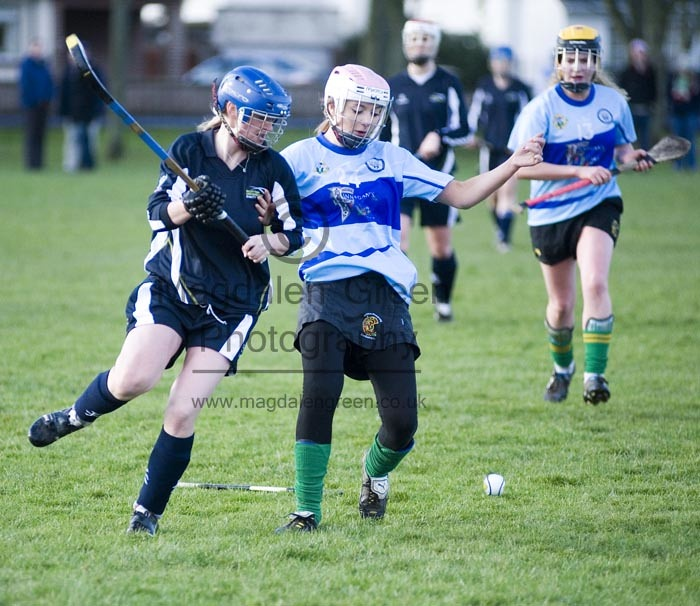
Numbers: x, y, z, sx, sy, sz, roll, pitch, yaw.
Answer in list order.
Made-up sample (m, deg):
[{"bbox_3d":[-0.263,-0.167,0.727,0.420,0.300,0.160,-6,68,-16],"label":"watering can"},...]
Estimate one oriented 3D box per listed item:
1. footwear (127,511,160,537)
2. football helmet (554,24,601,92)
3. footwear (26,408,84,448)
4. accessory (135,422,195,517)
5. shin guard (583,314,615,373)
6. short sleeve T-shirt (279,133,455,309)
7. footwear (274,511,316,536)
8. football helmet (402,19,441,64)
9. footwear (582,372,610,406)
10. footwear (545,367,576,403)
[{"bbox_3d":[-0.993,1.032,5.753,0.067,0.082,0.181,3,-18,5],"label":"footwear"},{"bbox_3d":[1.437,-1.489,7.457,0.263,0.427,0.385,4,9,25],"label":"football helmet"},{"bbox_3d":[-1.460,0.608,5.970,0.283,0.160,0.122,-28,-20,-19],"label":"footwear"},{"bbox_3d":[-0.893,0.807,5.822,0.275,0.423,0.106,-2,12,-11],"label":"accessory"},{"bbox_3d":[1.479,0.258,7.279,0.164,0.339,0.223,3,12,12],"label":"shin guard"},{"bbox_3d":[0.116,-0.472,6.701,1.172,1.040,0.372,3,-9,-15],"label":"short sleeve T-shirt"},{"bbox_3d":[-0.257,1.057,5.854,0.158,0.083,0.088,1,-3,-5],"label":"footwear"},{"bbox_3d":[0.600,-2.088,9.912,0.289,0.384,0.383,-5,-9,18],"label":"football helmet"},{"bbox_3d":[1.459,0.502,7.203,0.136,0.160,0.235,2,13,10],"label":"footwear"},{"bbox_3d":[1.325,0.536,7.762,0.112,0.232,0.093,13,-28,16],"label":"footwear"}]
